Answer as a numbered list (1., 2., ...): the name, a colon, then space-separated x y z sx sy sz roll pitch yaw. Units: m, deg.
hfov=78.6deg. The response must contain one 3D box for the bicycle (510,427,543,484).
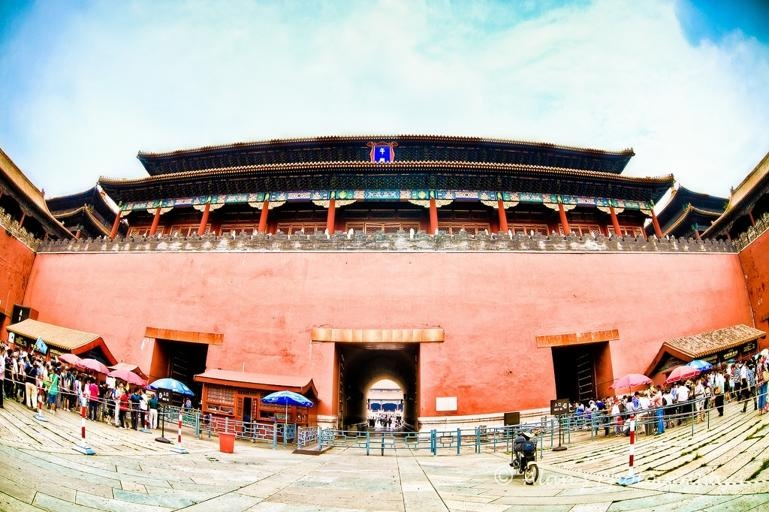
1. bicycle: 3.931 5.632 13.199 0.769 1.161 2.039 3 -15 8

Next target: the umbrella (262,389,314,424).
1. umbrella: -3.666 5.565 17.886 1.558 0.956 1.530 13 -16 -28

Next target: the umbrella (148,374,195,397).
1. umbrella: -7.654 4.822 17.200 1.803 0.616 1.779 -7 -23 31

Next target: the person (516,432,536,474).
1. person: 3.796 5.306 12.738 0.466 0.594 1.059 7 -11 1

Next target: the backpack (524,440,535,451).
1. backpack: 3.916 5.161 12.753 0.322 0.290 0.166 1 -16 3
